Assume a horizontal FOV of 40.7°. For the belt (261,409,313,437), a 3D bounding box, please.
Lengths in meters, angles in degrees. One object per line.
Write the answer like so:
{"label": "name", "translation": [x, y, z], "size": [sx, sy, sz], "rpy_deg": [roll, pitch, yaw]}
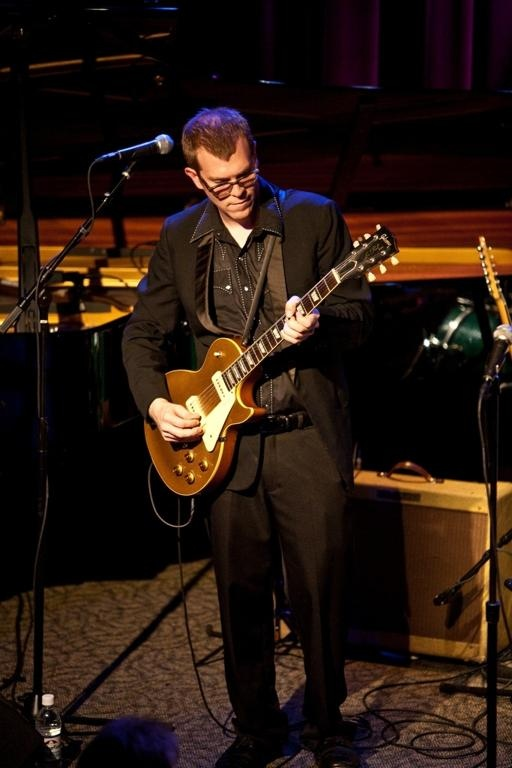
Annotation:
{"label": "belt", "translation": [0.074, 0.098, 1.682], "size": [0.093, 0.031, 0.066], "rpy_deg": [-5, 0, 30]}

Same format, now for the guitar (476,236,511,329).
{"label": "guitar", "translation": [0.786, -0.346, 2.264], "size": [0.103, 0.315, 0.976], "rpy_deg": [-1, 3, 18]}

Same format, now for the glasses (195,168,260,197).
{"label": "glasses", "translation": [-0.060, -0.474, 1.670], "size": [0.094, 0.024, 0.093], "rpy_deg": [-14, -6, -35]}

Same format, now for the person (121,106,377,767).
{"label": "person", "translation": [0.009, 0.150, 1.815], "size": [0.349, 1.745, 0.717], "rpy_deg": [-5, 5, -41]}
